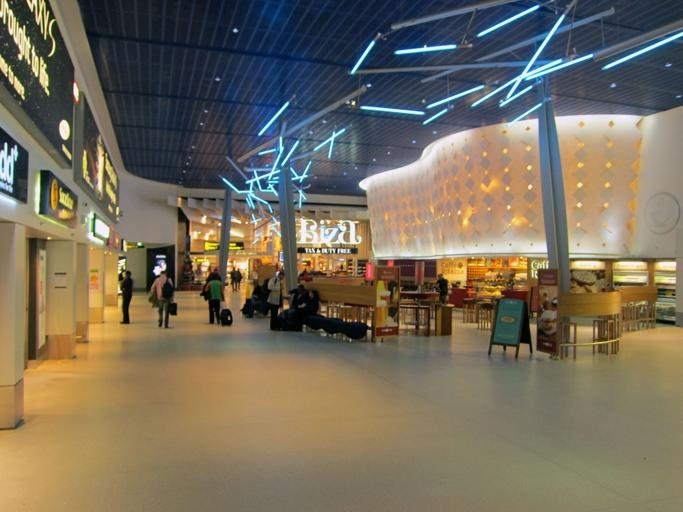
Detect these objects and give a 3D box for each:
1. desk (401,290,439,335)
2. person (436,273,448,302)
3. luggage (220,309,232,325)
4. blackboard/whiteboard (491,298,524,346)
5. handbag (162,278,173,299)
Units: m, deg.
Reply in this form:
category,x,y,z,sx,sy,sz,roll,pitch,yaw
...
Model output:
category,x,y,z,sx,sy,sz,roll,pitch,yaw
desk,2.284,1.723,14.779,1.416,1.048,0.871,-3,-9,34
person,3.934,1.288,18.699,0.372,0.770,1.125,0,-1,11
luggage,-3.479,1.847,14.420,0.338,0.466,0.321,1,0,-15
blackboard/whiteboard,3.544,1.413,10.231,0.642,0.984,0.458,0,0,20
handbag,-4.972,0.952,13.657,0.271,0.598,0.576,1,-1,-23
